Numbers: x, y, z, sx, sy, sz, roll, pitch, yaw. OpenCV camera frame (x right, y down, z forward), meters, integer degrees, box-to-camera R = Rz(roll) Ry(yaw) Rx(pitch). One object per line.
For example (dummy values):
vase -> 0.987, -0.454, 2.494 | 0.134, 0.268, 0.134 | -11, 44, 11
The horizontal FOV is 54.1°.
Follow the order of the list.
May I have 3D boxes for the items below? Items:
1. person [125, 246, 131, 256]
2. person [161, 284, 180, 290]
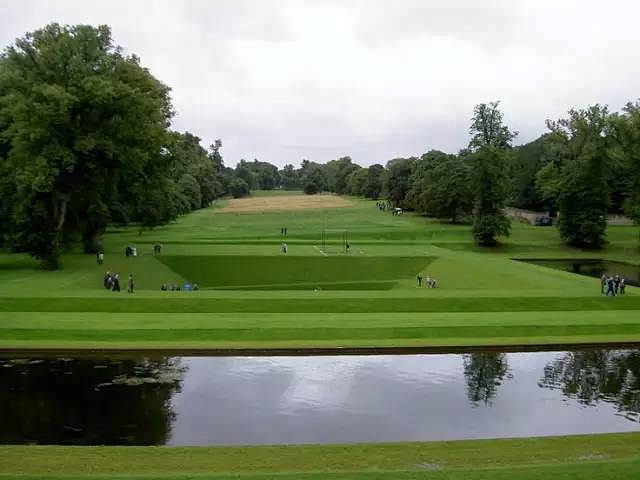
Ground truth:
person -> -22.382, 1.314, 73.147 | 0.354, 1.160, 1.490 | 3, 2, -9
person -> -14.056, 4.519, 59.255 | 1.233, 0.477, 0.905 | 5, -4, 10
